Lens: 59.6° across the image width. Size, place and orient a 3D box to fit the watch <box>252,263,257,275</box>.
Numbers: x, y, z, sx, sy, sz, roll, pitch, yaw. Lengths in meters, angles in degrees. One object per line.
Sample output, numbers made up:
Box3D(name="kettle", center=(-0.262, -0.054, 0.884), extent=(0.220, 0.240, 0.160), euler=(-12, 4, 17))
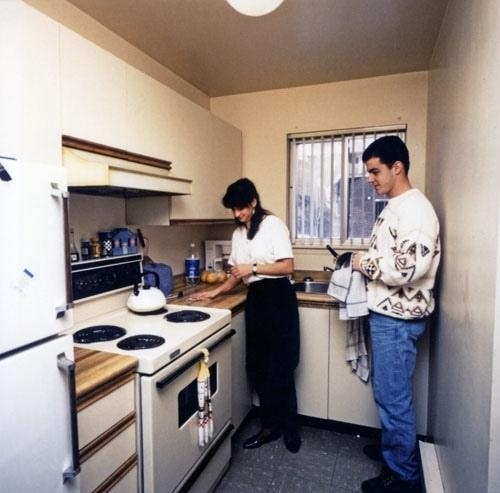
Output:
Box3D(name="watch", center=(0.025, 0.119, 2.356), extent=(0.025, 0.052, 0.042), euler=(0, -3, 5))

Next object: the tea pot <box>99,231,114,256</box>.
Box3D(name="tea pot", center=(-0.725, -0.012, 2.194), extent=(0.070, 0.123, 0.062), euler=(-5, 6, -22))

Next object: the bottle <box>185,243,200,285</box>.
Box3D(name="bottle", center=(-0.390, 0.115, 2.949), extent=(0.119, 0.269, 0.135), euler=(-2, -5, 1))

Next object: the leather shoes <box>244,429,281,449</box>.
Box3D(name="leather shoes", center=(0.067, 1.085, 2.519), extent=(0.212, 0.106, 0.075), euler=(-11, 15, -27))

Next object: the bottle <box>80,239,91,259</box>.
Box3D(name="bottle", center=(-0.782, 0.013, 2.086), extent=(0.030, 0.093, 0.069), euler=(0, 6, 22))

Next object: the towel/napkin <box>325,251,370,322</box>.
Box3D(name="towel/napkin", center=(0.495, 0.214, 2.209), extent=(0.106, 0.368, 0.201), euler=(4, -1, 10))

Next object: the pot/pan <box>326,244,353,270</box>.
Box3D(name="pot/pan", center=(0.488, 0.048, 2.388), extent=(0.025, 0.115, 0.182), euler=(12, 29, -48))

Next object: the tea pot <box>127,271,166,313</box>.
Box3D(name="tea pot", center=(-0.527, 0.203, 2.280), extent=(0.187, 0.230, 0.191), euler=(1, 3, 0))

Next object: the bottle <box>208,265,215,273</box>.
Box3D(name="bottle", center=(-0.281, 0.157, 3.158), extent=(0.045, 0.058, 0.028), euler=(-1, -8, 12))

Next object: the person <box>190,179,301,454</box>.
Box3D(name="person", center=(0.030, 0.391, 2.493), extent=(0.496, 1.542, 0.381), euler=(2, 10, 38))

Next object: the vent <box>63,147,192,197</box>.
Box3D(name="vent", center=(-0.525, -0.324, 1.934), extent=(0.149, 0.191, 0.692), euler=(0, 7, 24))

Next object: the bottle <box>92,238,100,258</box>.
Box3D(name="bottle", center=(-0.765, 0.006, 2.156), extent=(0.049, 0.091, 0.046), euler=(-3, 5, 0))
